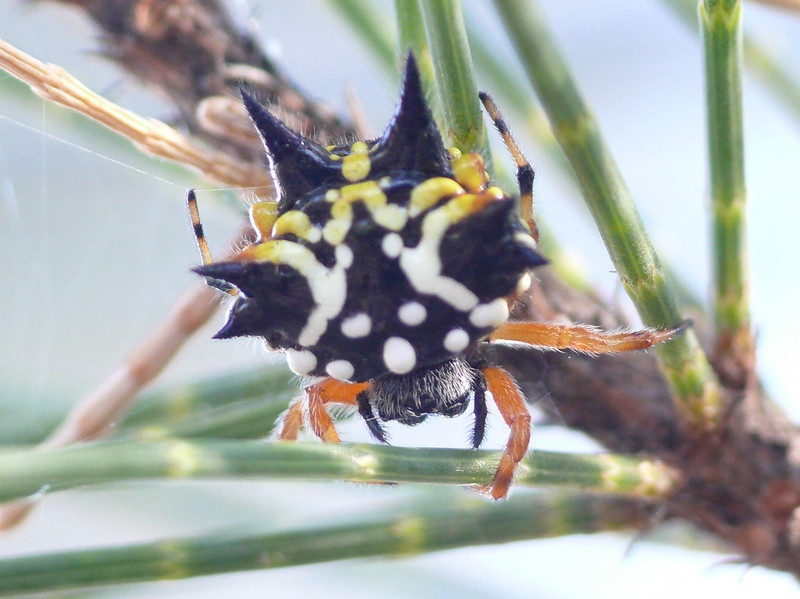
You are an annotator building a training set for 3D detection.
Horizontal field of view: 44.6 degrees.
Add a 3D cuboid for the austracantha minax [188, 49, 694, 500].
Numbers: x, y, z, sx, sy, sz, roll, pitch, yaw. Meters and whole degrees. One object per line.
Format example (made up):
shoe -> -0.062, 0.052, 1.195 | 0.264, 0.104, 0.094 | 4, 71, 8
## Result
austracantha minax -> -0.004, -0.015, 0.863 | 0.431, 0.125, 0.370 | -10, 88, 9
